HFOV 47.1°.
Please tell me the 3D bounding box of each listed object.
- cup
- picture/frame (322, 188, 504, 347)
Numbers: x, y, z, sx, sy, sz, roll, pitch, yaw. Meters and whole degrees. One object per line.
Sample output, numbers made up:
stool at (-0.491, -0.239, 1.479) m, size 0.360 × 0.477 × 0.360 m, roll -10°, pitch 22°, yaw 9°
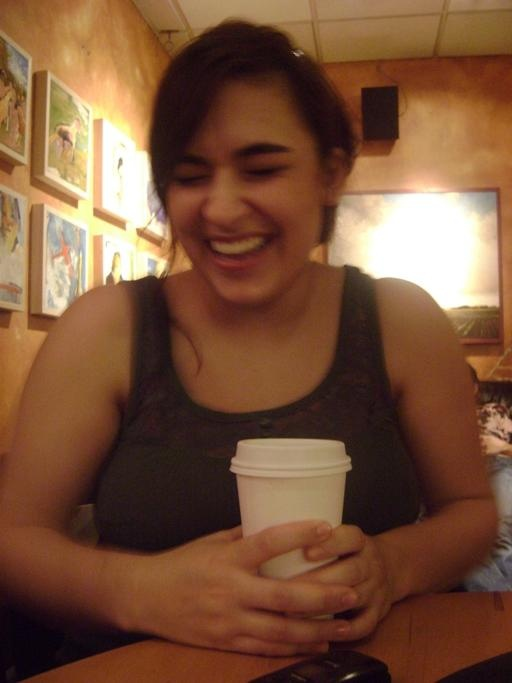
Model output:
cup at (0.026, 0.135, 0.466) m, size 0.110 × 0.138 × 0.102 m, roll -1°, pitch -5°, yaw 0°
picture/frame at (0.172, -0.082, 0.632) m, size 0.179 × 0.161 × 0.012 m, roll 0°, pitch -2°, yaw 17°
